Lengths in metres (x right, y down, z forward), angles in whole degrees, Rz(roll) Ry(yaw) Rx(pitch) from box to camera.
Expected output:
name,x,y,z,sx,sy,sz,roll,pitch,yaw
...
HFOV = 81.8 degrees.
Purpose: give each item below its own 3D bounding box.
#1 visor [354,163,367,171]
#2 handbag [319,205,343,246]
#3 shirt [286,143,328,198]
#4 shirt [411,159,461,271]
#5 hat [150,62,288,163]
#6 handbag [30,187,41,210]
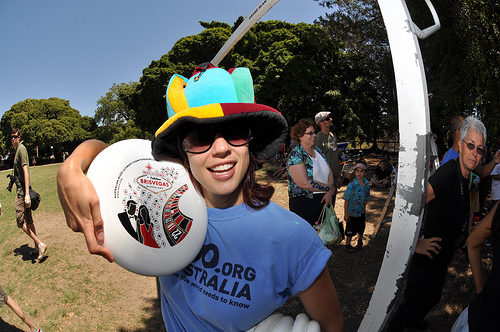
name,x,y,z,sx,sy,sz,roll,pitch,yaw
visor,2.202,-0.006,5.705,0.275,0.120,0.132,-8,14,-18
handbag,1.154,0.826,4.225,0.354,0.804,0.331,-12,-35,31
shirt,0.877,0.012,4.390,0.592,0.869,0.421,-25,23,-36
shirt,2.018,0.546,3.076,0.452,1.216,0.168,-4,12,-11
hat,-0.274,-0.407,1.946,0.701,0.594,0.748,-9,-9,-10
handbag,-4.631,0.717,6.187,0.173,0.469,0.460,-11,15,-38
